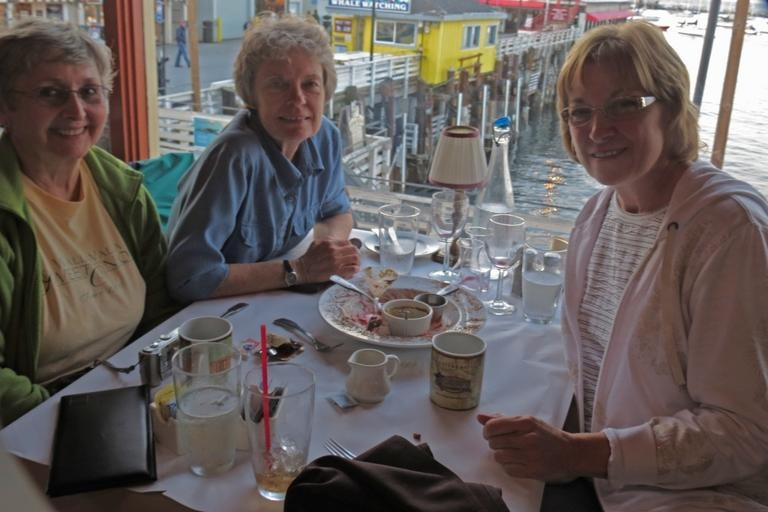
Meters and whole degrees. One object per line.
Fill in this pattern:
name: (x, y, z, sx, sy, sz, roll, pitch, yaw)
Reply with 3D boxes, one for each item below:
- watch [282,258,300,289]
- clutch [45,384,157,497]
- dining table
watch: (-0.302, 0.057, 2.086, 0.054, 0.082, 0.080, -5, -8, -43)
clutch: (-0.637, 0.413, 1.439, 0.217, 0.131, 0.262, -5, 17, -19)
dining table: (-0.145, 0.337, 1.683, 1.251, 0.230, 0.878, 4, 16, 11)
